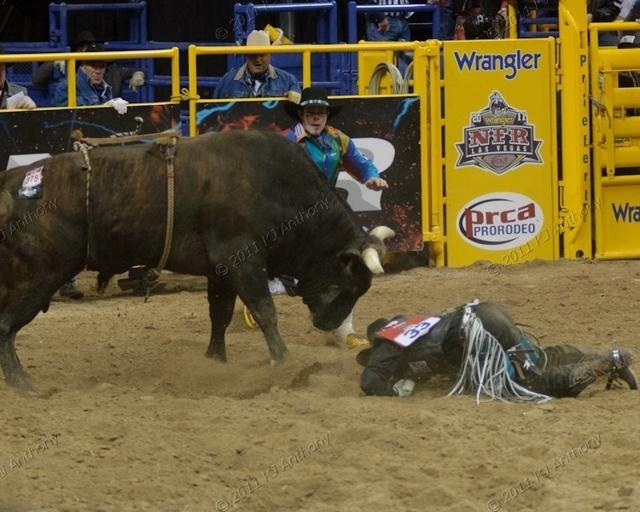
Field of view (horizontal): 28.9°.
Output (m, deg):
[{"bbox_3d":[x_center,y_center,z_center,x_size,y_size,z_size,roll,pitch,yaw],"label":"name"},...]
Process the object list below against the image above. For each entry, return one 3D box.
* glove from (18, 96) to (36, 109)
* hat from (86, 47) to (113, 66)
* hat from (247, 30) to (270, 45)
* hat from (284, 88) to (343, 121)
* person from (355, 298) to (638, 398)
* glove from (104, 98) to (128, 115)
[{"bbox_3d":[-2.722,-1.450,11.630,0.130,0.103,0.160,4,8,30],"label":"glove"},{"bbox_3d":[-2.171,-1.981,12.229,0.412,0.149,0.437,-4,11,-12],"label":"hat"},{"bbox_3d":[-0.589,-2.114,12.025,0.254,0.138,0.228,0,8,5],"label":"hat"},{"bbox_3d":[-0.053,-1.304,10.711,0.616,0.211,0.621,0,0,-4],"label":"hat"},{"bbox_3d":[1.201,0.595,8.630,1.541,0.454,0.847,-1,-2,23],"label":"person"},{"bbox_3d":[-1.913,-1.424,11.649,0.197,0.068,0.181,18,9,1],"label":"glove"}]
